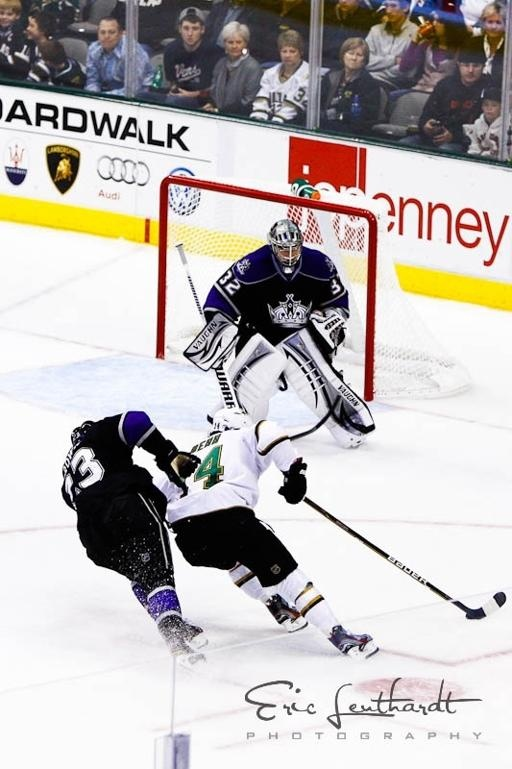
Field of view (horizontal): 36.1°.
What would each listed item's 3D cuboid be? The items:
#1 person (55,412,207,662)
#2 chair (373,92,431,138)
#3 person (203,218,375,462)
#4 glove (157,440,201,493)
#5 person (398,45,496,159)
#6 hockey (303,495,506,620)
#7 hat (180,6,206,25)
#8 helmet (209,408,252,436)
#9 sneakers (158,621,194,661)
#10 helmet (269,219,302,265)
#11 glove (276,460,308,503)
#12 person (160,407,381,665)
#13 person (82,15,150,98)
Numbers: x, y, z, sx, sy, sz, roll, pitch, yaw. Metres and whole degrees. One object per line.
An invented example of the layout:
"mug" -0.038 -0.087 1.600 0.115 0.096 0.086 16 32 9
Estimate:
"person" -0.409 0.479 2.657 0.677 0.754 0.347 9 13 26
"chair" 1.288 -2.423 7.025 0.323 0.323 0.353 -23 33 -29
"person" 0.255 -0.293 4.869 1.223 1.411 0.561 2 33 23
"glove" -0.276 0.294 2.731 0.138 0.174 0.074 -46 1 -36
"person" 1.691 -2.398 6.774 0.719 0.909 0.668 13 30 9
"hockey" 0.489 0.696 2.805 0.820 0.264 0.052 36 35 13
"hat" -0.616 -3.677 7.918 0.277 0.173 0.372 3 11 -1
"helmet" -0.111 0.138 2.960 0.112 0.086 0.114 -1 -8 5
"sneakers" -0.255 0.802 2.485 0.113 0.139 0.109 1 12 -9
"helmet" 0.176 -0.827 4.591 0.193 0.271 0.198 0 12 -16
"glove" 0.140 0.308 2.619 0.056 0.138 0.105 18 -14 17
"person" 0.008 0.554 2.767 0.650 0.882 0.616 -11 -30 8
"person" -1.580 -3.514 8.427 0.728 0.838 0.524 5 44 0
